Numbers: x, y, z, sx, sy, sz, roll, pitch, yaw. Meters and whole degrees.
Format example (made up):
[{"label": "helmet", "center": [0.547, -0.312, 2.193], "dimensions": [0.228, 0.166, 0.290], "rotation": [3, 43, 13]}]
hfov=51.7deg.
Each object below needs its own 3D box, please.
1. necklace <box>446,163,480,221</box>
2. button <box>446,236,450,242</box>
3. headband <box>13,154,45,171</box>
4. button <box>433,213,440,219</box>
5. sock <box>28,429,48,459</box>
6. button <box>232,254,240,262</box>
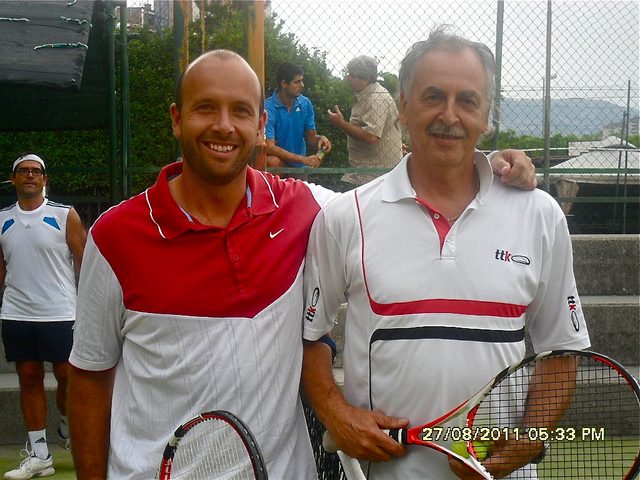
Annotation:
[{"label": "necklace", "center": [0.670, -0.218, 3.001], "dimensions": [0.097, 0.266, 0.209], "rotation": [5, 5, 41]}, {"label": "button", "center": [0.563, -0.005, 2.903], "dimensions": [0.019, 0.021, 0.005], "rotation": [1, -11, 5]}, {"label": "headband", "center": [-2.687, -0.738, 6.132], "dimensions": [0.161, 0.046, 0.173], "rotation": [4, 25, -15]}, {"label": "button", "center": [0.524, -0.107, 2.950], "dimensions": [0.022, 0.026, 0.005], "rotation": [2, 4, 5]}, {"label": "sock", "center": [-2.291, 1.679, 5.409], "dimensions": [0.107, 0.218, 0.153], "rotation": [-2, 5, -44]}, {"label": "button", "center": [-0.372, 0.080, 2.960], "dimensions": [0.026, 0.030, 0.007], "rotation": [4, -12, -23]}]
